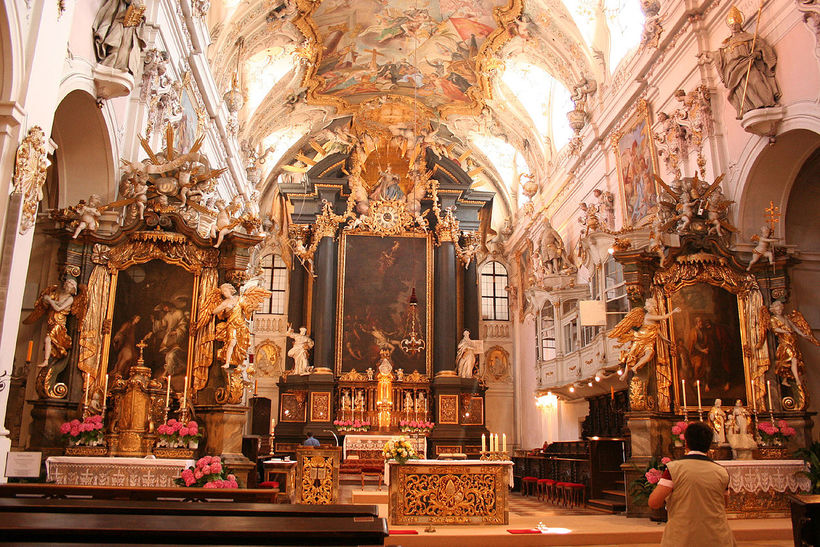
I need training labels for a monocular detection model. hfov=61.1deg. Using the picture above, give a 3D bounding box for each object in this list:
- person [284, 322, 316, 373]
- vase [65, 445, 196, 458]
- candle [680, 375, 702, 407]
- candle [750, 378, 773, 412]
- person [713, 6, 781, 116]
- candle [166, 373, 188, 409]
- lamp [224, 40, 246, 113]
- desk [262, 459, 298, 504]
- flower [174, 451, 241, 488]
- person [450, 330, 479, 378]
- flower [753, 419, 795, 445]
[{"bbox_3d":[-3.816,2.586,23.951,0.904,1.690,0.888,4,-15,-8],"label":"person"},{"bbox_3d":[-4.585,2.912,11.414,2.050,0.172,0.531,6,-15,-19],"label":"vase"},{"bbox_3d":[5.295,2.231,13.070,0.320,0.545,0.289,-7,-17,30],"label":"candle"},{"bbox_3d":[6.597,2.253,13.006,0.348,0.638,0.082,-5,-17,24],"label":"candle"},{"bbox_3d":[6.353,-3.774,13.002,0.970,1.629,0.578,-7,-17,28],"label":"person"},{"bbox_3d":[-4.034,2.030,12.039,0.368,0.597,0.382,6,-16,-17],"label":"candle"},{"bbox_3d":[-4.891,-5.463,19.338,0.495,1.793,1.554,6,-15,-16],"label":"lamp"},{"bbox_3d":[-2.899,4.665,15.458,0.840,0.970,0.879,-6,-14,25],"label":"desk"},{"bbox_3d":[-3.108,3.076,10.864,0.835,0.444,0.800,-11,-18,39],"label":"flower"},{"bbox_3d":[2.082,2.850,24.592,0.622,1.666,0.907,-10,-19,37],"label":"person"},{"bbox_3d":[6.576,2.876,12.484,0.511,0.288,0.491,1,0,-21],"label":"flower"}]
